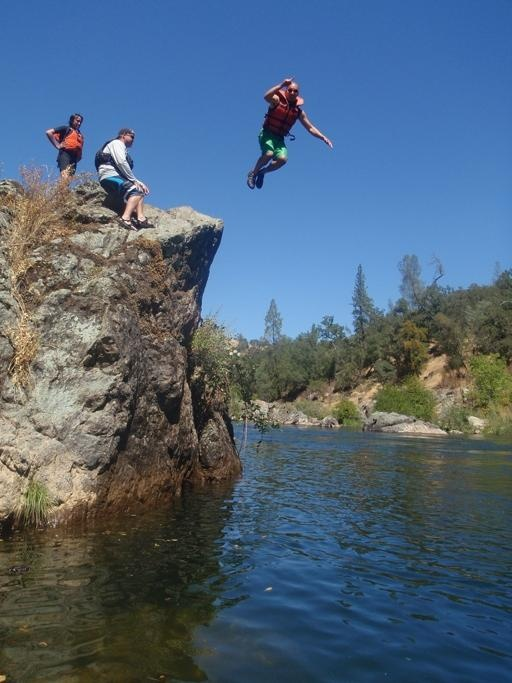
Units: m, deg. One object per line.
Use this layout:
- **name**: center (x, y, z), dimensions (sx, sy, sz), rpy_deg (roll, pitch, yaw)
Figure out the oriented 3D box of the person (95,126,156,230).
- **person**: center (-3.221, -4.011, 14.094), dimensions (1.395, 2.575, 1.023), rpy_deg (-4, -4, -3)
